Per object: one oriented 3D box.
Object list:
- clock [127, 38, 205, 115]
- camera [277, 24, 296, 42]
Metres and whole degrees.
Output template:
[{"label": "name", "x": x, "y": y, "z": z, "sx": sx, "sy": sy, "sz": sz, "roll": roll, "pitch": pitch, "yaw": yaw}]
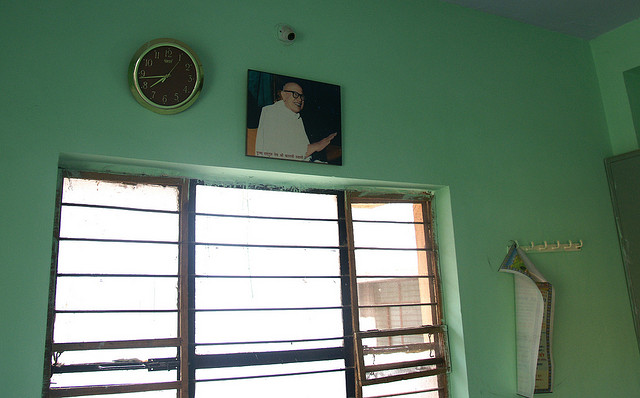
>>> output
[{"label": "clock", "x": -1.179, "y": -0.910, "z": 4.370, "sx": 0.575, "sy": 0.536, "sz": 0.554, "roll": 0, "pitch": -1, "yaw": -14}, {"label": "camera", "x": -0.263, "y": -1.300, "z": 4.355, "sx": 0.131, "sy": 0.143, "sz": 0.084, "roll": 0, "pitch": -16, "yaw": -5}]
